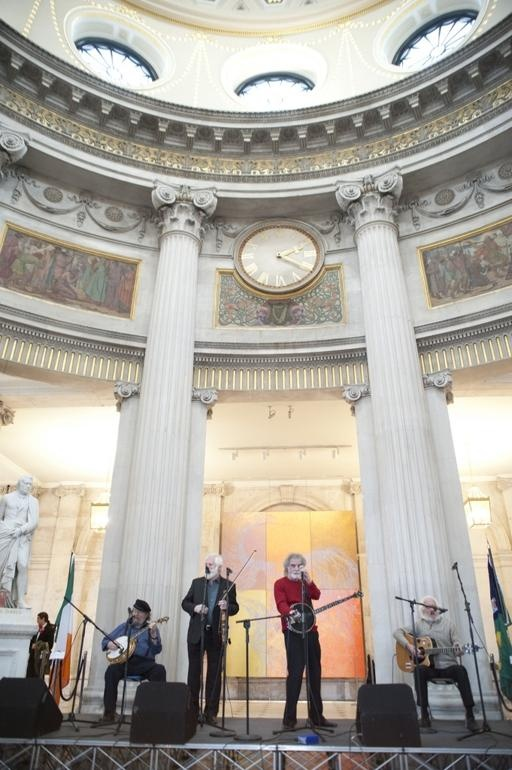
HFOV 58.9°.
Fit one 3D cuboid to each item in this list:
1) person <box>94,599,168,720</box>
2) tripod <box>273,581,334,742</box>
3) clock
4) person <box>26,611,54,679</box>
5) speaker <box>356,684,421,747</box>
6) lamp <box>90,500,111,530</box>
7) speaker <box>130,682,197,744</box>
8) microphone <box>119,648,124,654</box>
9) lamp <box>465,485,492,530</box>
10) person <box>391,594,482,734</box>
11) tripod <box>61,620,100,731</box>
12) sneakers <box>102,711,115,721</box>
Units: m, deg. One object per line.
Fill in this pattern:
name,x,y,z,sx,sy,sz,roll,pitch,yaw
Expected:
person,-1.070,2.402,3.970,0.484,0.968,0.457,0,-38,-1
tripod,0.384,2.132,3.517,0.370,0.967,0.530,-3,-21,7
clock,0.401,-2.345,8.161,1.467,1.577,0.126,1,-26,5
person,-3.097,3.839,6.622,0.300,0.863,1.654,8,-23,-20
speaker,0.723,1.766,2.521,0.297,0.310,0.287,-6,-5,3
lamp,-3.307,2.761,9.653,0.297,0.641,1.435,8,-23,-20
speaker,-0.526,1.849,2.592,0.297,0.298,0.266,-2,-24,1
microphone,-1.103,2.203,3.760,0.028,0.029,0.029,1,-42,-19
lamp,5.179,2.844,10.737,0.554,1.005,1.862,-9,-24,23
person,1.487,2.371,3.969,0.538,0.909,1.163,-6,-22,15
tripod,-2.131,3.520,5.562,0.348,1.261,0.408,6,-14,-10
sneakers,-1.149,2.624,3.592,0.101,0.057,0.110,12,-25,-28
